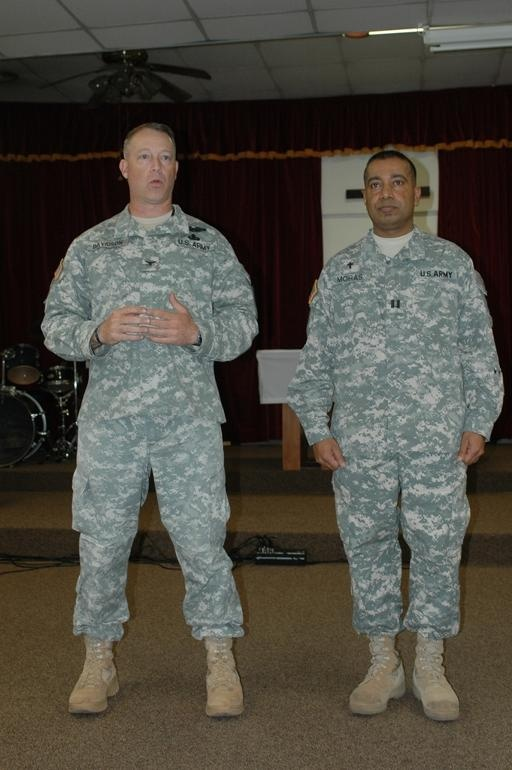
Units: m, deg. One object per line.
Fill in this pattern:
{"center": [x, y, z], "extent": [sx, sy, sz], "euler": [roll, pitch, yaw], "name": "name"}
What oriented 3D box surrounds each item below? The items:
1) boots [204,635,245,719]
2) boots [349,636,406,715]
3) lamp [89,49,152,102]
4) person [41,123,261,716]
{"center": [-0.080, 0.738, 1.762], "extent": [0.096, 0.159, 0.163], "euler": [-1, 2, -4], "name": "boots"}
{"center": [0.307, 0.746, 1.799], "extent": [0.086, 0.168, 0.257], "euler": [-11, -11, 33], "name": "boots"}
{"center": [-0.958, -2.379, 5.152], "extent": [0.304, 0.279, 0.302], "euler": [33, 27, 25], "name": "lamp"}
{"center": [-0.259, 0.070, 1.773], "extent": [0.566, 1.503, 0.379], "euler": [-1, 2, -11], "name": "person"}
